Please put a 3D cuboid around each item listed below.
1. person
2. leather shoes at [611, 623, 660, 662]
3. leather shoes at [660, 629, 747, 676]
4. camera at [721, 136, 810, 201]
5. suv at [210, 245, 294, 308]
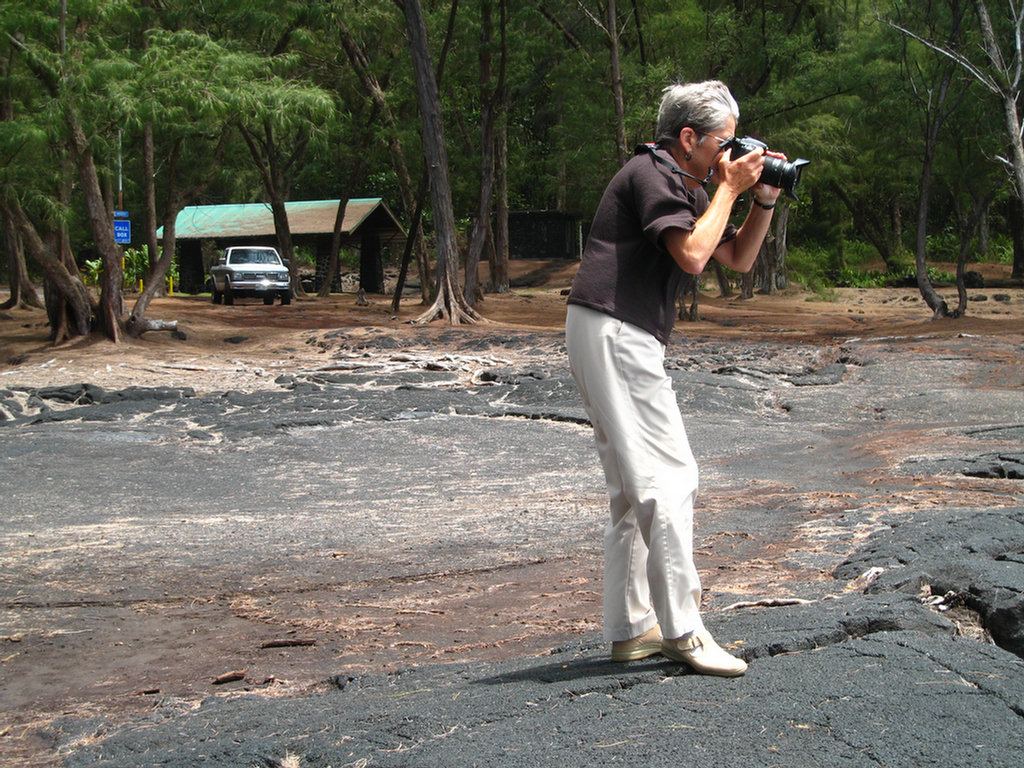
[{"bbox_3d":[0.663,-0.053,4.187,0.833,2.438,0.658,-9,7,-12],"label":"person"},{"bbox_3d":[0.578,1.103,4.301,0.277,0.092,0.098,-9,7,-37],"label":"leather shoes"},{"bbox_3d":[0.782,1.082,4.095,0.322,0.101,0.161,7,13,37],"label":"leather shoes"},{"bbox_3d":[1.085,-0.897,4.325,0.326,0.144,0.266,11,2,2],"label":"camera"},{"bbox_3d":[-8.311,-3.450,32.129,1.710,1.059,2.909,-1,2,-19],"label":"suv"}]
